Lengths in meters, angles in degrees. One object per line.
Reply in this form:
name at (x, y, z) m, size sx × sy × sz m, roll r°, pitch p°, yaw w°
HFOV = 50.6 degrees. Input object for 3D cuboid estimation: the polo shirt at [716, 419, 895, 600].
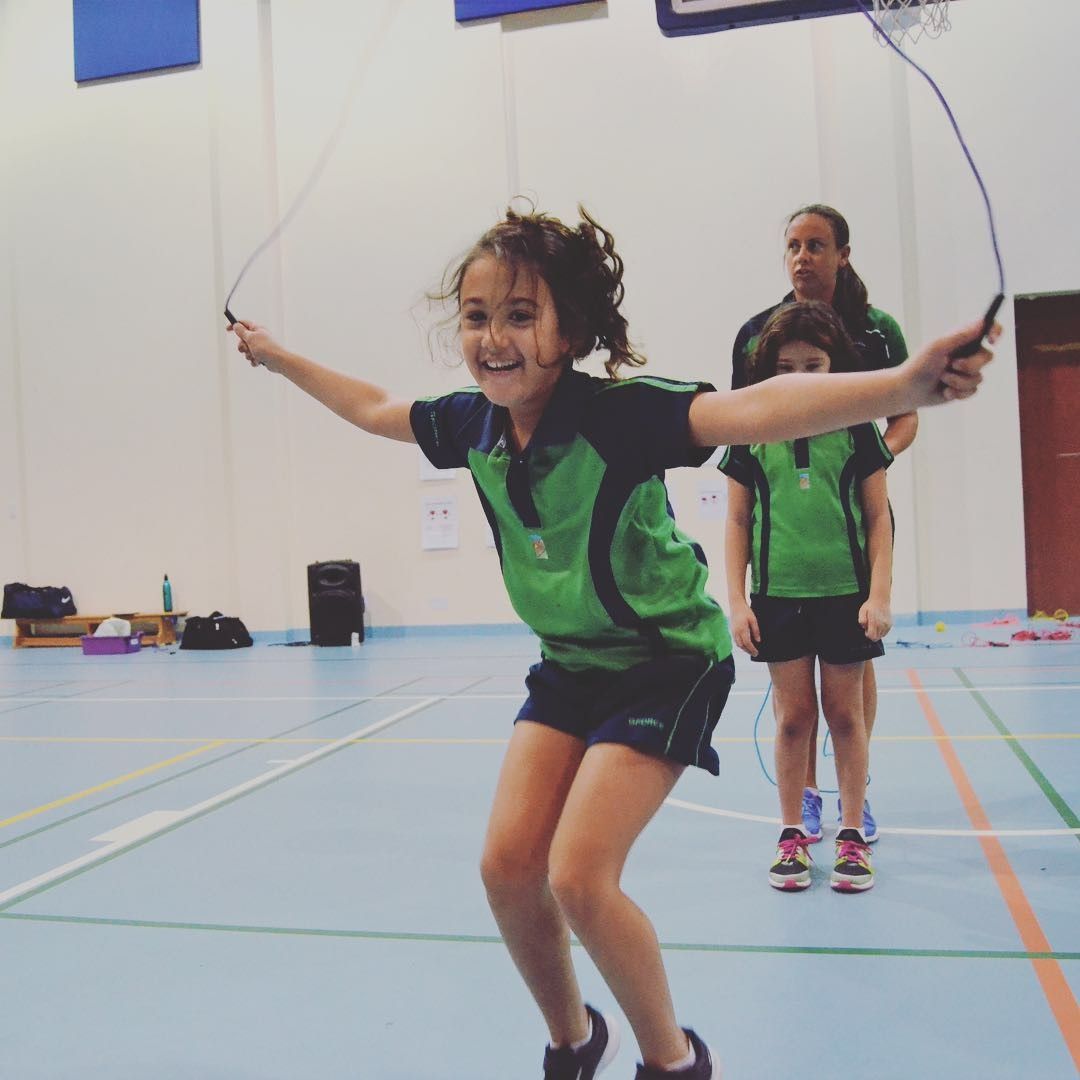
polo shirt at (0.758, -0.074, 3.294) m, size 0.445 × 0.593 × 0.212 m, roll -4°, pitch -25°, yaw 15°

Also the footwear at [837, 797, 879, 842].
footwear at (0.996, 0.878, 3.537) m, size 0.098 × 0.129 × 0.286 m, roll -2°, pitch -13°, yaw 10°

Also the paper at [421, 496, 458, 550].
paper at (-0.825, -0.137, 9.435) m, size 0.388 × 0.589 × 0.058 m, roll -1°, pitch 0°, yaw 7°

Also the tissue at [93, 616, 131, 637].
tissue at (-3.560, 0.755, 9.502) m, size 0.183 × 0.085 × 0.225 m, roll -1°, pitch 0°, yaw -5°

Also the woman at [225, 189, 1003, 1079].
woman at (0.128, 0.214, 2.213) m, size 1.295 × 1.717 × 0.571 m, roll -1°, pitch 4°, yaw 14°

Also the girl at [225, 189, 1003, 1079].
girl at (0.130, 0.214, 2.213) m, size 1.289 × 1.717 × 0.571 m, roll -1°, pitch 4°, yaw 14°

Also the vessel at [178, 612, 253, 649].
vessel at (-2.703, 0.800, 9.476) m, size 0.348 × 0.214 × 0.370 m, roll -1°, pitch -7°, yaw -2°
